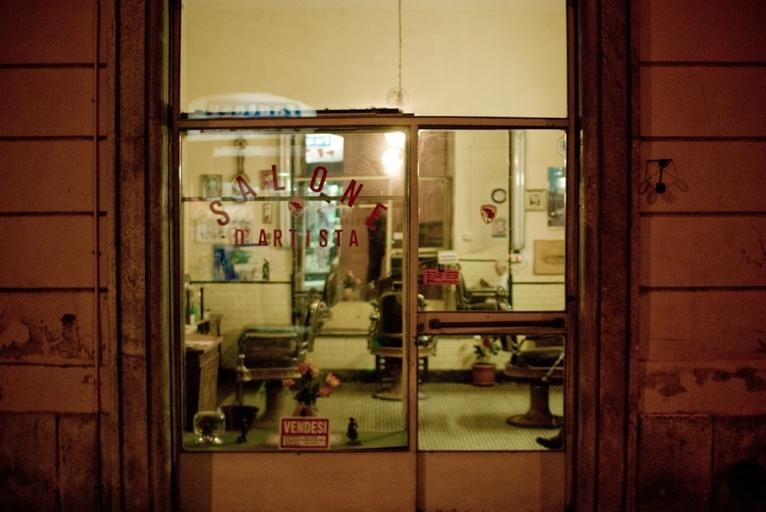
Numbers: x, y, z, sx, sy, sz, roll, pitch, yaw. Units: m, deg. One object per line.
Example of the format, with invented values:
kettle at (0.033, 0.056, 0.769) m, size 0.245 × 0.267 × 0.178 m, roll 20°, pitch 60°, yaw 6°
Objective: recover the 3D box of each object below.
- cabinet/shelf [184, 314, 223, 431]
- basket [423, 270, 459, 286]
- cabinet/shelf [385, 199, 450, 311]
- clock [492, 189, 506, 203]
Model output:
cabinet/shelf at (-1.435, 0.934, 6.911) m, size 0.359 × 0.832 × 0.867 m, roll 0°, pitch -1°, yaw -5°
basket at (0.444, 0.159, 6.586) m, size 0.218 × 0.086 × 0.120 m, roll 3°, pitch 39°, yaw -6°
cabinet/shelf at (0.315, 0.005, 6.790) m, size 0.473 × 0.746 × 0.493 m, roll -3°, pitch -13°, yaw -9°
clock at (1.023, -0.531, 7.694) m, size 0.138 × 0.115 × 0.064 m, roll 2°, pitch 0°, yaw 19°
